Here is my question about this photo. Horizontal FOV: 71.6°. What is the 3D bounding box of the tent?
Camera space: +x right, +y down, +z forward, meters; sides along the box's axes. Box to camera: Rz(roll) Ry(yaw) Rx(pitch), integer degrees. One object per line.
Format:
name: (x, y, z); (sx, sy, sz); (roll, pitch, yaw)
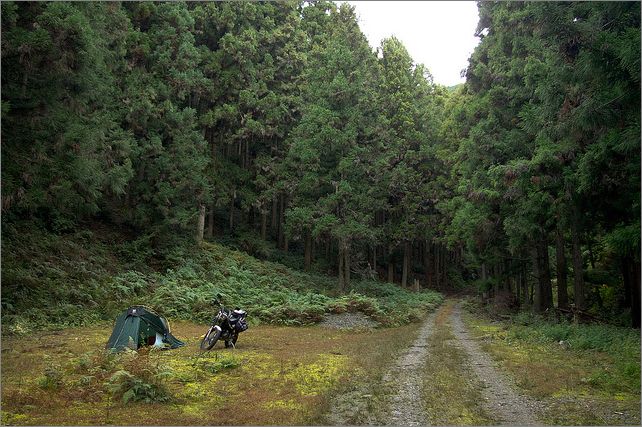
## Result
tent: (-7.818, 5.103, 19.722); (1.869, 0.959, 2.117); (-2, -8, 19)
